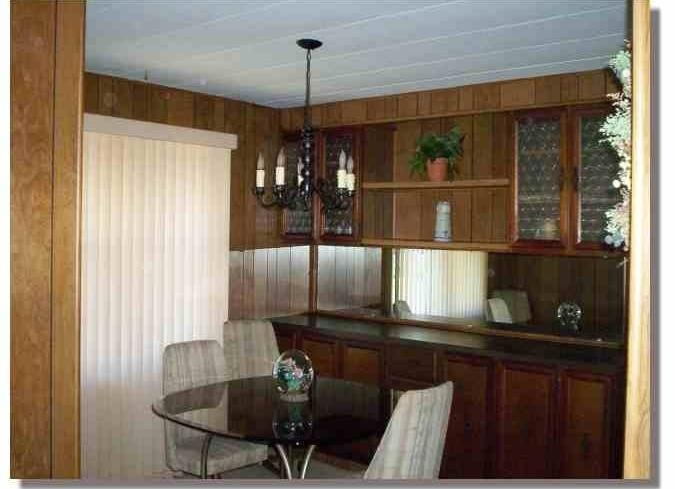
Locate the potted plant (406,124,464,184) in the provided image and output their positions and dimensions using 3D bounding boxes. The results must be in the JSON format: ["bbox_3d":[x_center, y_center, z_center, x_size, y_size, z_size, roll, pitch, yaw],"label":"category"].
[{"bbox_3d":[0.786,-0.679,4.527,0.383,0.340,0.353,9,12,36],"label":"potted plant"}]

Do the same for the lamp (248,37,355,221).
[{"bbox_3d":[-0.222,-0.747,3.643,0.705,1.053,0.632,-1,6,-23],"label":"lamp"}]

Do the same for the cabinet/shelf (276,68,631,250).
[{"bbox_3d":[0.767,-0.476,4.548,2.395,1.082,0.340,4,5,40],"label":"cabinet/shelf"}]

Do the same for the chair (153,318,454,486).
[{"bbox_3d":[-0.233,0.915,3.092,1.298,0.634,1.162,4,2,37],"label":"chair"}]

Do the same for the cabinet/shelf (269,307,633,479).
[{"bbox_3d":[0.724,1.199,4.557,2.608,1.159,0.565,1,9,36],"label":"cabinet/shelf"}]
